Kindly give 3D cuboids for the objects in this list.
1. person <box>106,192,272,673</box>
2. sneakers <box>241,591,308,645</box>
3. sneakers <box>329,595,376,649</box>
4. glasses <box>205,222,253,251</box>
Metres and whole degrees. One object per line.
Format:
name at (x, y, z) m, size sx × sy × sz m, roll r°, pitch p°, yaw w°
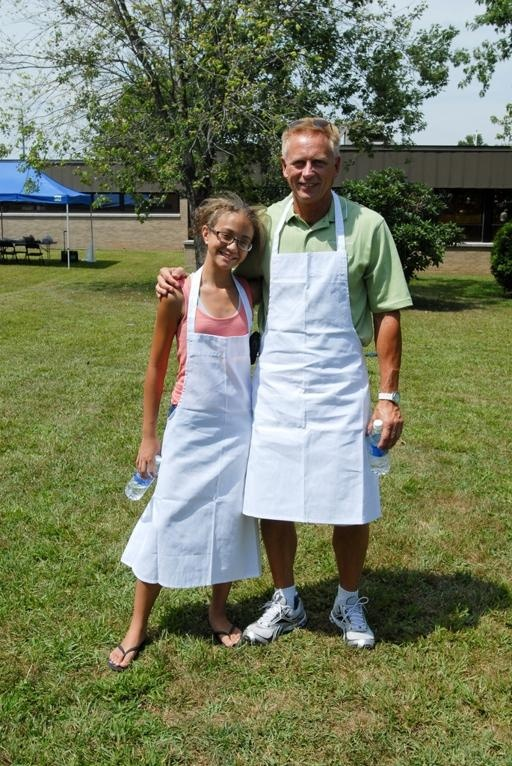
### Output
person at (-0.212, 0.165, 2.251) m, size 0.606 × 1.586 × 0.346 m, roll -4°, pitch 12°, yaw -24°
sneakers at (0.071, 0.871, 2.490) m, size 0.299 × 0.163 × 0.103 m, roll -7°, pitch 3°, yaw -45°
sneakers at (0.353, 0.879, 2.431) m, size 0.086 × 0.104 × 0.235 m, roll -1°, pitch 0°, yaw -6°
glasses at (-0.086, -0.474, 2.188) m, size 0.138 × 0.077 × 0.082 m, roll -1°, pitch 11°, yaw -7°
